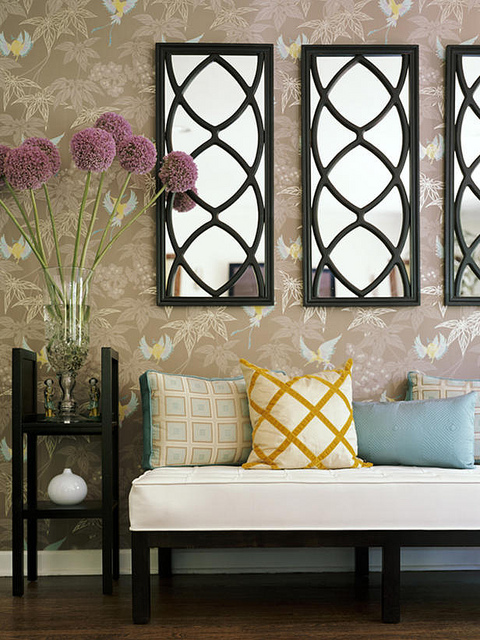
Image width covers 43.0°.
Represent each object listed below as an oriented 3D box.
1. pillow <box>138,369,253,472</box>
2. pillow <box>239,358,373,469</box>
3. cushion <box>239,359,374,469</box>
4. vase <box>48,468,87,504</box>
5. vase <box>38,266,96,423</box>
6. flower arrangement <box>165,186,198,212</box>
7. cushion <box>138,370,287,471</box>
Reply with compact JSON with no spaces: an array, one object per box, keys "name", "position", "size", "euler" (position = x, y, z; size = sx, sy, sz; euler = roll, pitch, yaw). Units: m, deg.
[{"name":"pillow","position":[-0.186,0.446,2.665],"size":[0.212,0.408,0.596],"euler":[7,-3,43]},{"name":"pillow","position":[0.252,0.382,2.460],"size":[0.533,0.399,0.257],"euler":[2,1,-16]},{"name":"cushion","position":[0.253,0.377,2.462],"size":[0.500,0.411,0.242],"euler":[1,3,-10]},{"name":"vase","position":[-0.714,0.684,2.502],"size":[0.128,0.132,0.101],"euler":[-3,-6,21]},{"name":"vase","position":[-0.729,0.095,2.570],"size":[0.198,0.647,0.104],"euler":[1,-6,-17]},{"name":"flower arrangement","position":[-0.276,-0.564,2.830],"size":[0.103,0.072,0.128],"euler":[1,13,10]},{"name":"cushion","position":[-0.170,0.448,2.699],"size":[0.239,0.446,0.679],"euler":[-2,-10,41]}]
